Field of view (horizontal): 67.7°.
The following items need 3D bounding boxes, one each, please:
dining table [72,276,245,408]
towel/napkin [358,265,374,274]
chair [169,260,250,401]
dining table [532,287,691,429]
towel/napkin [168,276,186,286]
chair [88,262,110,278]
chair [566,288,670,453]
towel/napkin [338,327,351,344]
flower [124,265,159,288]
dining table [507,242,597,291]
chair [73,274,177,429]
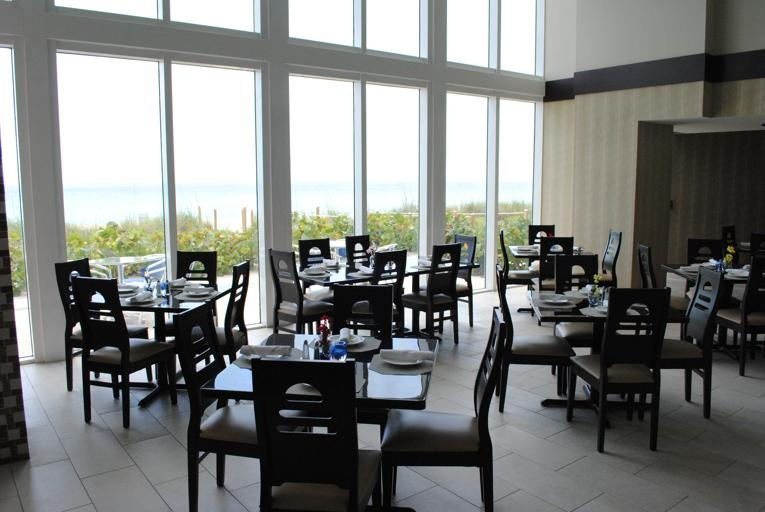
[{"bbox_3d":[-2.336,0.644,6.191,1.520,0.907,1.515,1,3,19],"label":"dining table"},{"bbox_3d":[-0.224,0.191,7.310,0.166,0.060,0.326,-3,5,-2],"label":"towel/napkin"},{"bbox_3d":[-1.584,0.582,6.041,0.985,1.626,0.902,3,1,1],"label":"chair"},{"bbox_3d":[1.950,0.869,5.705,1.296,1.399,1.269,0,12,-3],"label":"dining table"},{"bbox_3d":[-2.333,0.294,6.581,0.282,0.109,0.092,2,8,-19],"label":"towel/napkin"},{"bbox_3d":[-3.566,0.175,7.112,0.187,0.256,0.151,2,11,5],"label":"chair"},{"bbox_3d":[2.146,1.042,5.256,0.873,1.505,0.459,0,7,26],"label":"chair"},{"bbox_3d":[-0.311,0.688,4.888,0.077,0.103,0.120,-1,-7,19],"label":"towel/napkin"},{"bbox_3d":[-3.038,0.245,7.132,0.432,0.101,0.391,-3,7,-5],"label":"flower"},{"bbox_3d":[2.222,0.190,7.331,0.883,0.566,0.931,-4,14,1],"label":"dining table"},{"bbox_3d":[-2.603,0.928,5.719,0.870,1.492,0.506,-6,7,-20],"label":"chair"}]
